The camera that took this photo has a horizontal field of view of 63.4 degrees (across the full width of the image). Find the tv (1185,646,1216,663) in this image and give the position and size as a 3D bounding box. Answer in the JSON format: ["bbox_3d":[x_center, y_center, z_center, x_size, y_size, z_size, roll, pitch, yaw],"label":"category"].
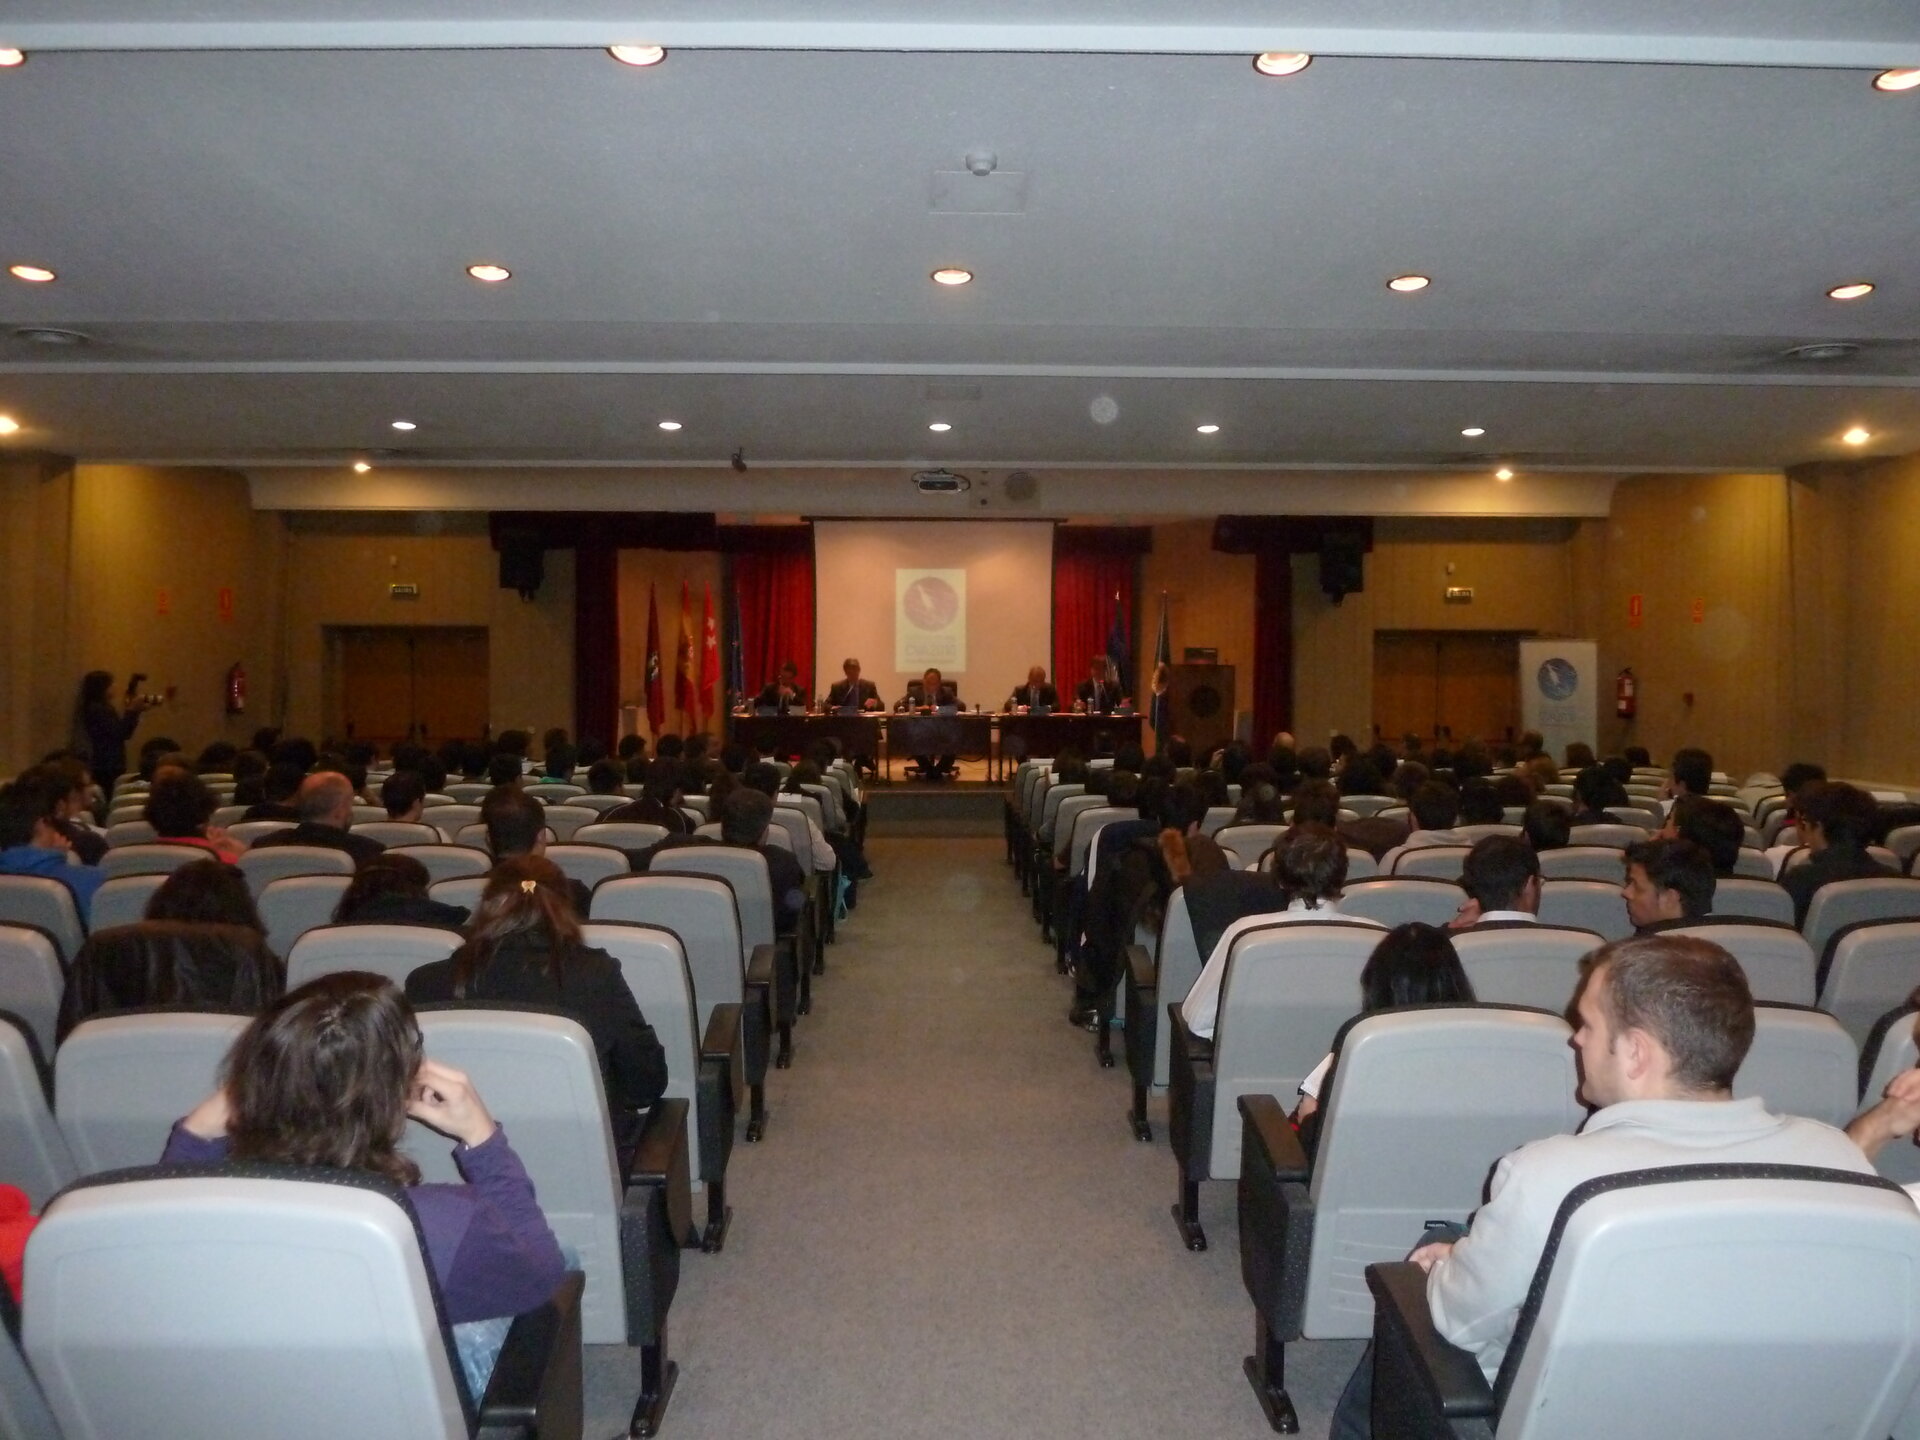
[{"bbox_3d":[2.794,-0.767,18.056,0.304,0.184,0.225,0,-3,0],"label":"tv"}]

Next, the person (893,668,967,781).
[{"bbox_3d":[-0.294,0.002,16.638,0.763,1.313,1.028,1,-2,-3],"label":"person"}]

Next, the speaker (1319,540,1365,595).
[{"bbox_3d":[4.326,-1.710,17.706,0.484,0.685,0.586,4,6,13],"label":"speaker"}]

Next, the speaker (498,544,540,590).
[{"bbox_3d":[-4.938,-1.732,17.575,0.493,0.620,0.459,1,6,-16],"label":"speaker"}]

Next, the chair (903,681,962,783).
[{"bbox_3d":[-0.269,0.039,16.674,0.673,1.208,0.953,0,-2,-5],"label":"chair"}]
